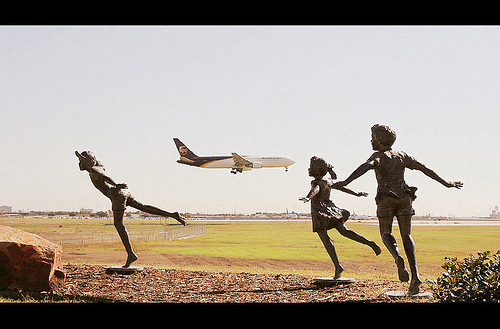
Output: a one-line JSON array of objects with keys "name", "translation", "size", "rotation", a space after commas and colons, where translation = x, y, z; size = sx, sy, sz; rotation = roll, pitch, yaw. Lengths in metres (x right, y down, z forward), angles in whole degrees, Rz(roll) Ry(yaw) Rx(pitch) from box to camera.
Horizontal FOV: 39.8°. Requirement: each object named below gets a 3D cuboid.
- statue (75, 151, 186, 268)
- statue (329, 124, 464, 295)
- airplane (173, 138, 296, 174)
[{"name": "statue", "translation": [-3.305, 1.180, 18.996], "size": [3.222, 3.205, 1.863], "rotation": [-1, -5, 6]}, {"name": "statue", "translation": [3.575, 0.958, 16.563], "size": [3.550, 4.063, 1.373], "rotation": [1, -5, -11]}, {"name": "airplane", "translation": [-1.366, -1.005, 67.901], "size": [12.685, 3.638, 11.583], "rotation": [-1, -3, -14]}]
